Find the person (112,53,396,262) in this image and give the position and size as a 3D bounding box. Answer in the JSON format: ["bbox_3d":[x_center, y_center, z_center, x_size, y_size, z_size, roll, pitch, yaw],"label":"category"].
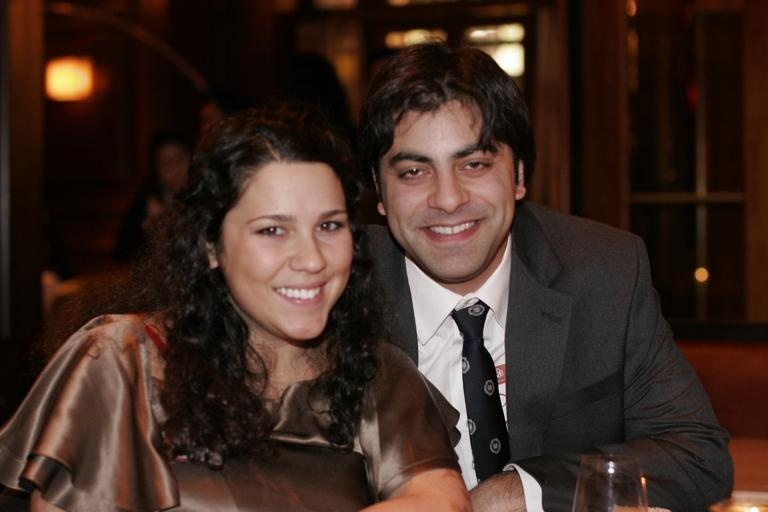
[{"bbox_3d":[-0.923,-0.743,4.737,1.324,1.484,0.505,7,-13,9],"label":"person"}]

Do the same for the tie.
[{"bbox_3d":[0.399,0.565,3.413,0.183,0.704,0.179,-9,-17,7],"label":"tie"}]
